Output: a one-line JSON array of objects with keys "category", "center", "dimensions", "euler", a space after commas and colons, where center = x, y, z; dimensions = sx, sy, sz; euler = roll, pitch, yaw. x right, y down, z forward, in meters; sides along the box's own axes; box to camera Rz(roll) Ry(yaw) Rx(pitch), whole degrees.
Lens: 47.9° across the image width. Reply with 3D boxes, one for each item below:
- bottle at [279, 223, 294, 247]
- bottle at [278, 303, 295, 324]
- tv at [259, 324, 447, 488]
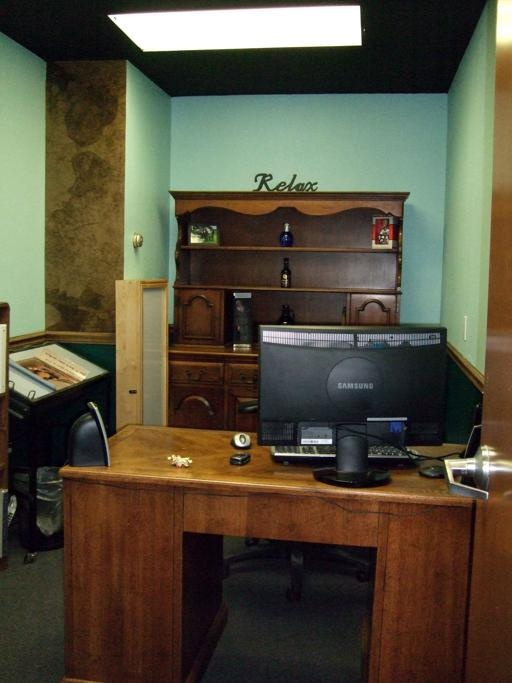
[{"category": "bottle", "center": [0.257, -0.876, 4.755], "dimensions": [0.116, 0.214, 0.240], "euler": [0, 4, 2]}, {"category": "bottle", "center": [0.278, -0.219, 4.790], "dimensions": [0.172, 0.186, 0.135], "euler": [5, -7, -44]}, {"category": "tv", "center": [0.316, 0.203, 1.900], "dimensions": [0.479, 0.403, 0.212], "euler": [1, 9, 2]}]
